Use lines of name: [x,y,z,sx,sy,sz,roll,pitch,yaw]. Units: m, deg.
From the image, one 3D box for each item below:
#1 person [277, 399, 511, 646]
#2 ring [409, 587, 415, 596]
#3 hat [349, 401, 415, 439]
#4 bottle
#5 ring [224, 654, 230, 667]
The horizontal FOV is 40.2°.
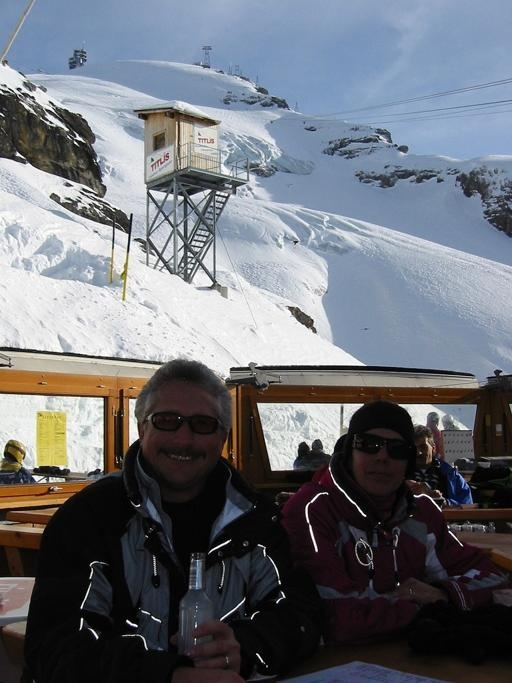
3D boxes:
person: [0.546,0.708,2.812,0.764,0.728,0.906,-1,-16,-22]
ring: [0.578,0.935,2.602,0.015,0.025,0.014,4,-7,-30]
hat: [0.535,0.322,2.987,0.197,0.140,0.188,11,-10,-4]
bottle: [-0.171,0.731,1.981,0.096,0.304,0.194,0,-3,-13]
ring: [-0.085,0.901,1.967,0.009,0.025,0.019,-9,-30,-1]
